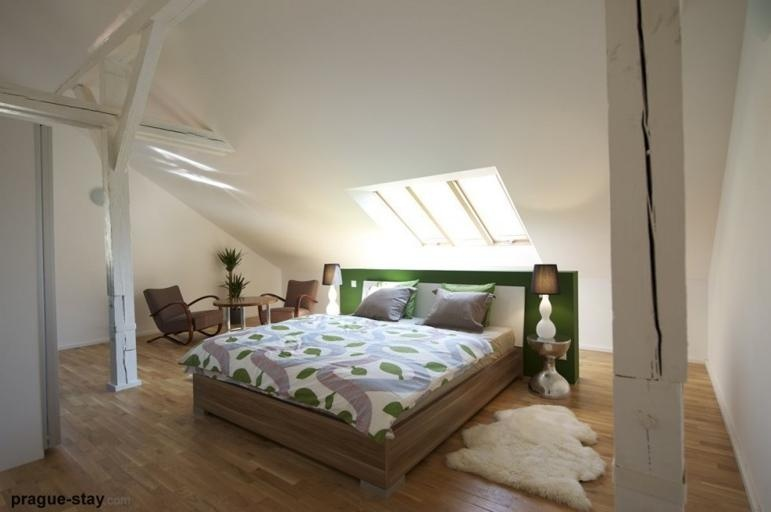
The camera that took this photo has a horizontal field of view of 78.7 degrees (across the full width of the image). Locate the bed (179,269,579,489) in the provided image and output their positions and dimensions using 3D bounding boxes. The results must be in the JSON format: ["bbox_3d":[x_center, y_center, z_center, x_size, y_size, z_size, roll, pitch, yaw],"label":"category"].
[{"bbox_3d":[0.009,0.947,4.745,3.399,1.139,2.362,-10,14,-36],"label":"bed"}]

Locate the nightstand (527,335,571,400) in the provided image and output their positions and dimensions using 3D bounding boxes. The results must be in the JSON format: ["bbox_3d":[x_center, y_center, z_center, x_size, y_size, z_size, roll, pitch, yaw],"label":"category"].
[{"bbox_3d":[1.724,1.149,4.966,0.507,0.552,0.476,-1,-2,37],"label":"nightstand"}]

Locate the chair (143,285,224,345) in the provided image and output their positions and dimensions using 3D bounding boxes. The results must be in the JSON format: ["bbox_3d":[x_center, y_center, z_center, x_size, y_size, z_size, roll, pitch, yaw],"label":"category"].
[{"bbox_3d":[-3.068,0.858,7.085,0.924,0.800,0.701,0,5,16],"label":"chair"}]

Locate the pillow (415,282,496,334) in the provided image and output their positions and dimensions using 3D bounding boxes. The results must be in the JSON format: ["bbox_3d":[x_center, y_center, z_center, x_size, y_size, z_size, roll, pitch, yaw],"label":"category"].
[{"bbox_3d":[0.787,0.620,5.255,0.538,0.525,0.170,3,-31,42],"label":"pillow"}]

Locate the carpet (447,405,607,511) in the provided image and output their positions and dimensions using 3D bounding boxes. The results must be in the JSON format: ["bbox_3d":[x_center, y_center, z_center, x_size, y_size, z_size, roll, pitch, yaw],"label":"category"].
[{"bbox_3d":[1.270,1.609,4.018,1.135,0.170,1.255,6,13,31],"label":"carpet"}]
